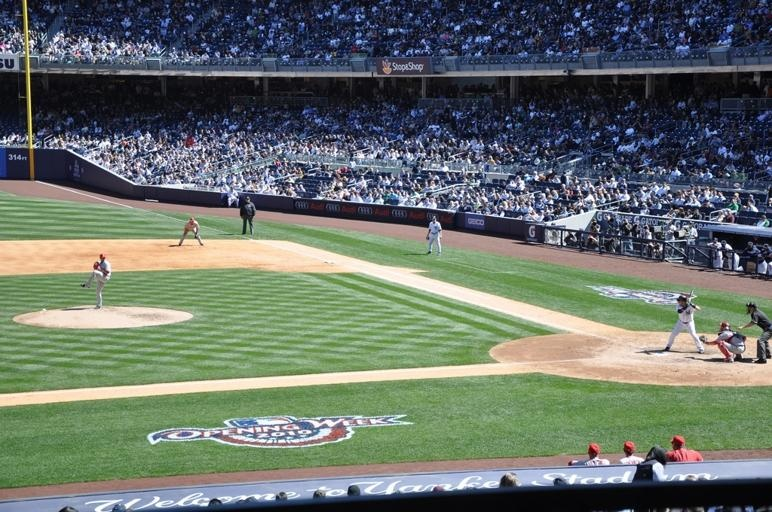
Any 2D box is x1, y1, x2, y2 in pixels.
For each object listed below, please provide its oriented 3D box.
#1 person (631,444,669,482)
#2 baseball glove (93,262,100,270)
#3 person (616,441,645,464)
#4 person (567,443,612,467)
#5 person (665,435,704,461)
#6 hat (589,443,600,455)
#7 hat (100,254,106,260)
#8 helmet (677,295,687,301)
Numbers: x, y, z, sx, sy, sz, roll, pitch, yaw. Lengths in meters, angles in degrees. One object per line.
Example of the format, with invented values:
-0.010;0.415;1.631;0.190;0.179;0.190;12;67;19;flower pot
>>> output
8.116;6.438;35.028;1.153;0.958;0.555;-5;32;-26;person
-12.702;0.432;49.605;0.354;0.172;0.451;4;10;5;baseball glove
7.989;6.401;37.164;0.697;0.557;1.203;-1;0;-2;person
6.663;6.668;37.091;1.005;1.160;0.654;1;40;11;person
9.600;6.271;36.654;1.267;0.721;0.877;0;6;-34;person
6.711;6.321;37.021;0.491;0.201;0.605;2;8;-2;hat
-12.684;0.033;50.480;0.217;0.232;0.256;11;15;11;hat
11.731;1.677;44.934;0.295;0.304;0.251;6;6;18;helmet
